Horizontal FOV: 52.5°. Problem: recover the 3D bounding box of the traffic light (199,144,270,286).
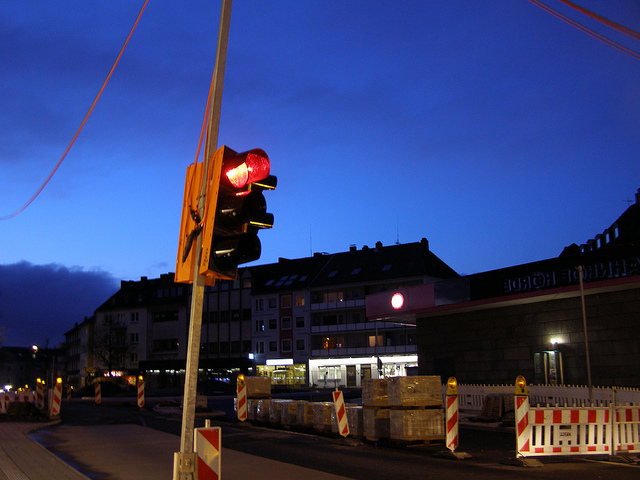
[{"bbox_3d":[-1.276,-0.410,9.667,0.986,1.877,0.422,2,-12,-13],"label":"traffic light"}]
